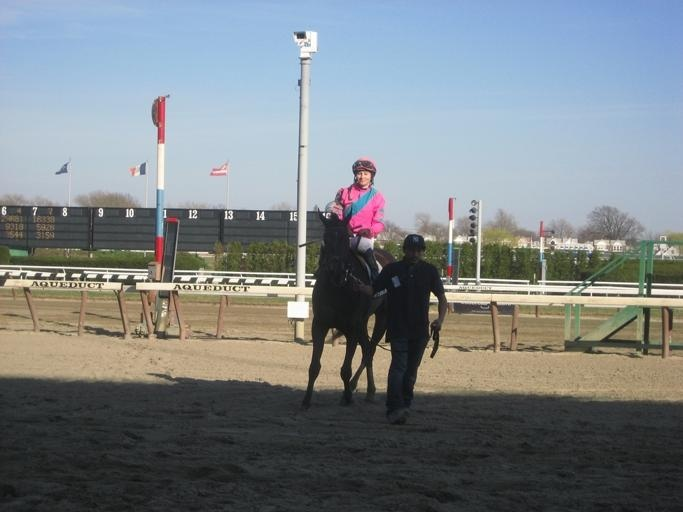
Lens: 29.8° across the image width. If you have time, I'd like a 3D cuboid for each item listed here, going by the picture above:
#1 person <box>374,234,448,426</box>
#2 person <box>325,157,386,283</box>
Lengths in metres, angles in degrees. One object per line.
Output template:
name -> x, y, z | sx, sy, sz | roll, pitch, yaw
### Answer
person -> 1.012, 1.101, 19.999 | 0.833, 2.778, 1.076 | 12, 15, 43
person -> 0.250, -0.443, 21.236 | 0.913, 2.223, 1.204 | 5, 7, 43
